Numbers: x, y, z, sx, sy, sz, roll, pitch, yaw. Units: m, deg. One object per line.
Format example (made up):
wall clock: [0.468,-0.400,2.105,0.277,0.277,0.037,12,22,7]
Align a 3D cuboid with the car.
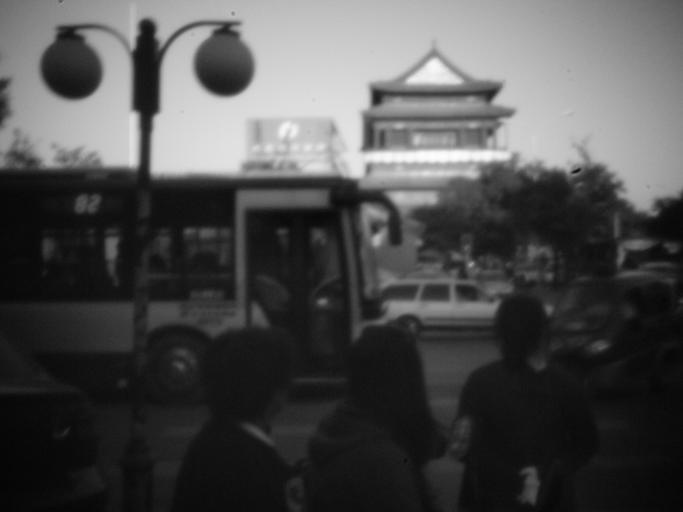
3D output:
car: [1.777,0.761,10.835,2.242,0.814,0.984,-1,3,0]
